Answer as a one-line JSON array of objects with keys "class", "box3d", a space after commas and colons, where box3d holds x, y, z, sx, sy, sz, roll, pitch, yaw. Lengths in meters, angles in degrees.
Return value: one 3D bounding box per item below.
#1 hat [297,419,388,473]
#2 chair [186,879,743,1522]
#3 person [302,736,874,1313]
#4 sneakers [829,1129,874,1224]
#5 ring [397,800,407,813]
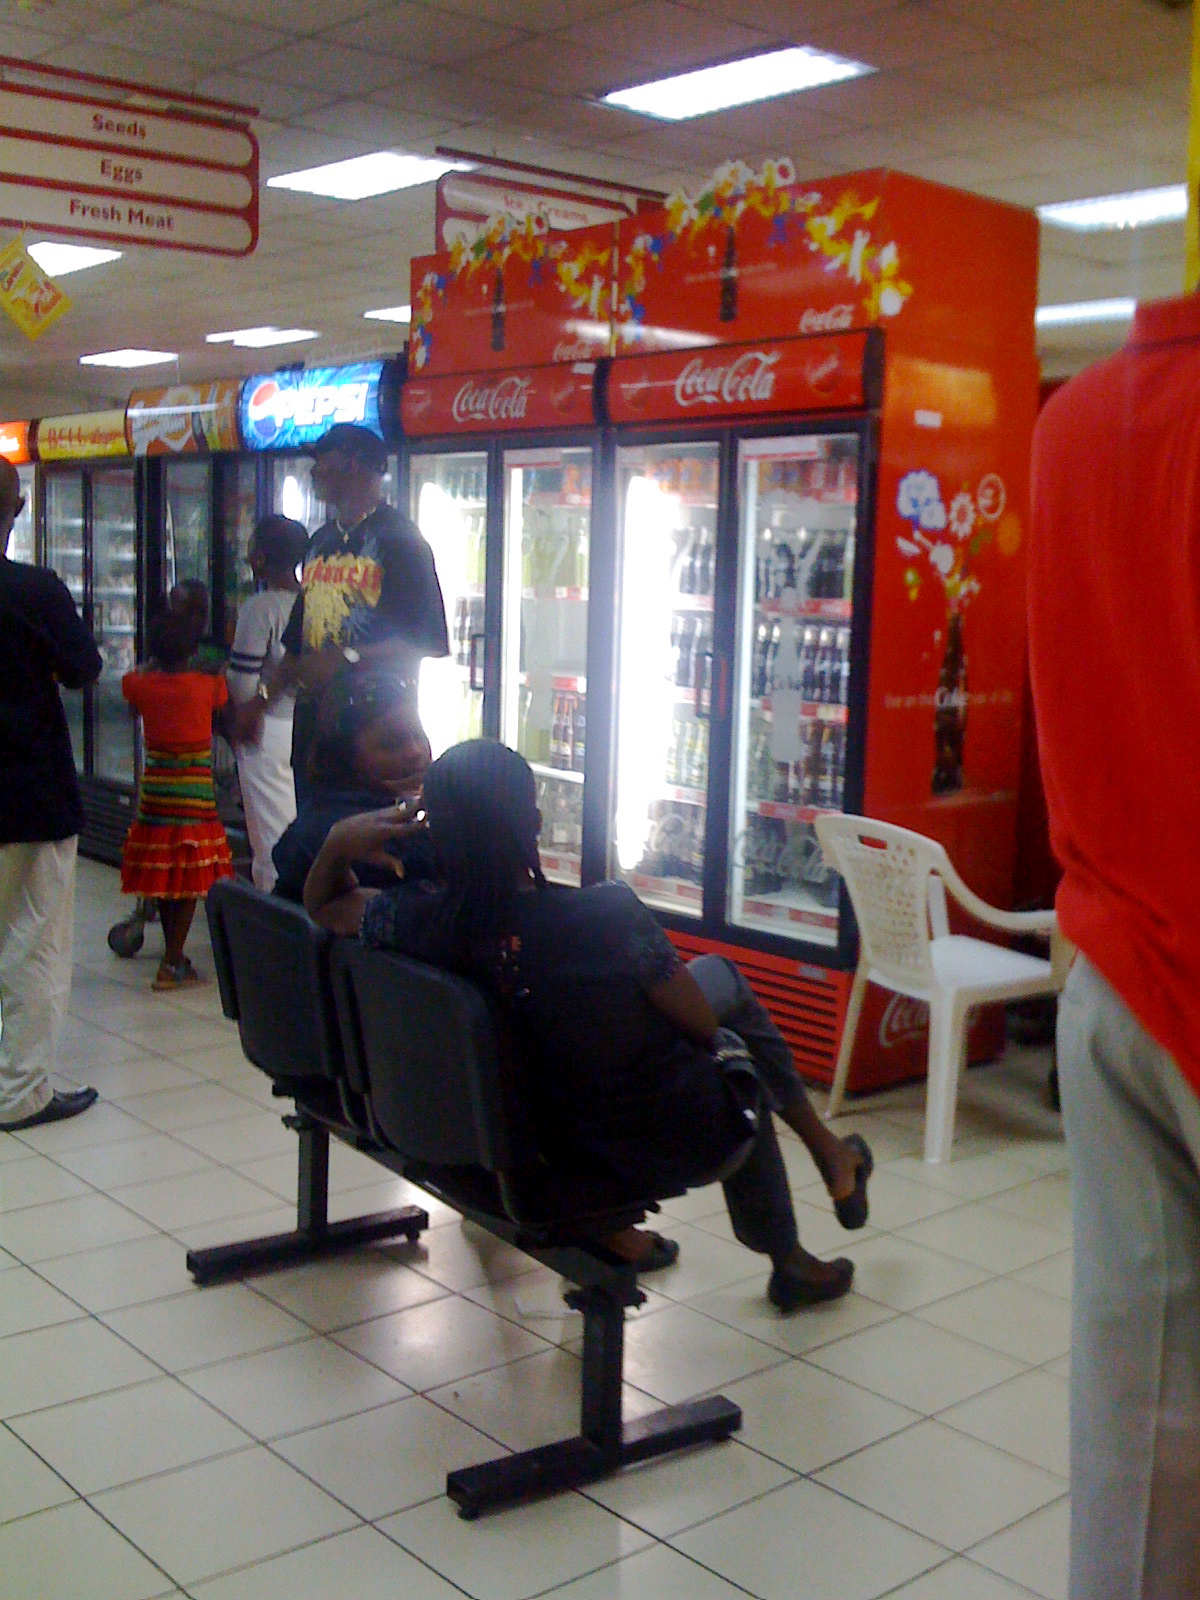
[{"class": "hat", "box3d": [-0.793, -1.133, 4.027, 0.198, 0.179, 0.256, 1, 4, -7]}, {"class": "chair", "box3d": [-0.254, 0.800, 2.413, 0.475, 0.632, 0.965, -7, 12, -35]}, {"class": "person", "box3d": [0.103, 0.517, 2.636, 1.273, 1.289, 0.839, -2, 5, -38]}, {"class": "sneakers", "box3d": [0.595, 0.942, 3.018, 0.103, 0.264, 0.098, -6, 7, -32]}, {"class": "ring", "box3d": [-0.399, 0.013, 2.553, 0.024, 0.021, 0.005, -6, -22, 34]}]
